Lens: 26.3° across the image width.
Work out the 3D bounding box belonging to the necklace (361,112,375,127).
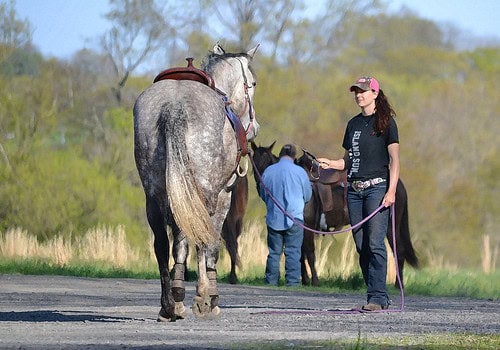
[{"bbox_3d":[2.599,-1.259,24.302,0.240,0.361,0.129,4,-5,14],"label":"necklace"}]

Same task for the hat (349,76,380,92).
[{"bbox_3d":[2.550,-2.032,24.330,0.506,0.267,0.367,13,-6,-23],"label":"hat"}]

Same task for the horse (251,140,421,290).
[{"bbox_3d":[2.404,1.337,29.255,4.682,3.709,1.079,15,13,42],"label":"horse"}]

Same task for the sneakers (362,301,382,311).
[{"bbox_3d":[2.674,2.898,24.087,0.461,0.209,0.172,-5,3,-5],"label":"sneakers"}]

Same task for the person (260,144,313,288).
[{"bbox_3d":[0.884,1.004,28.125,1.315,3.750,0.739,-1,-10,7],"label":"person"}]
